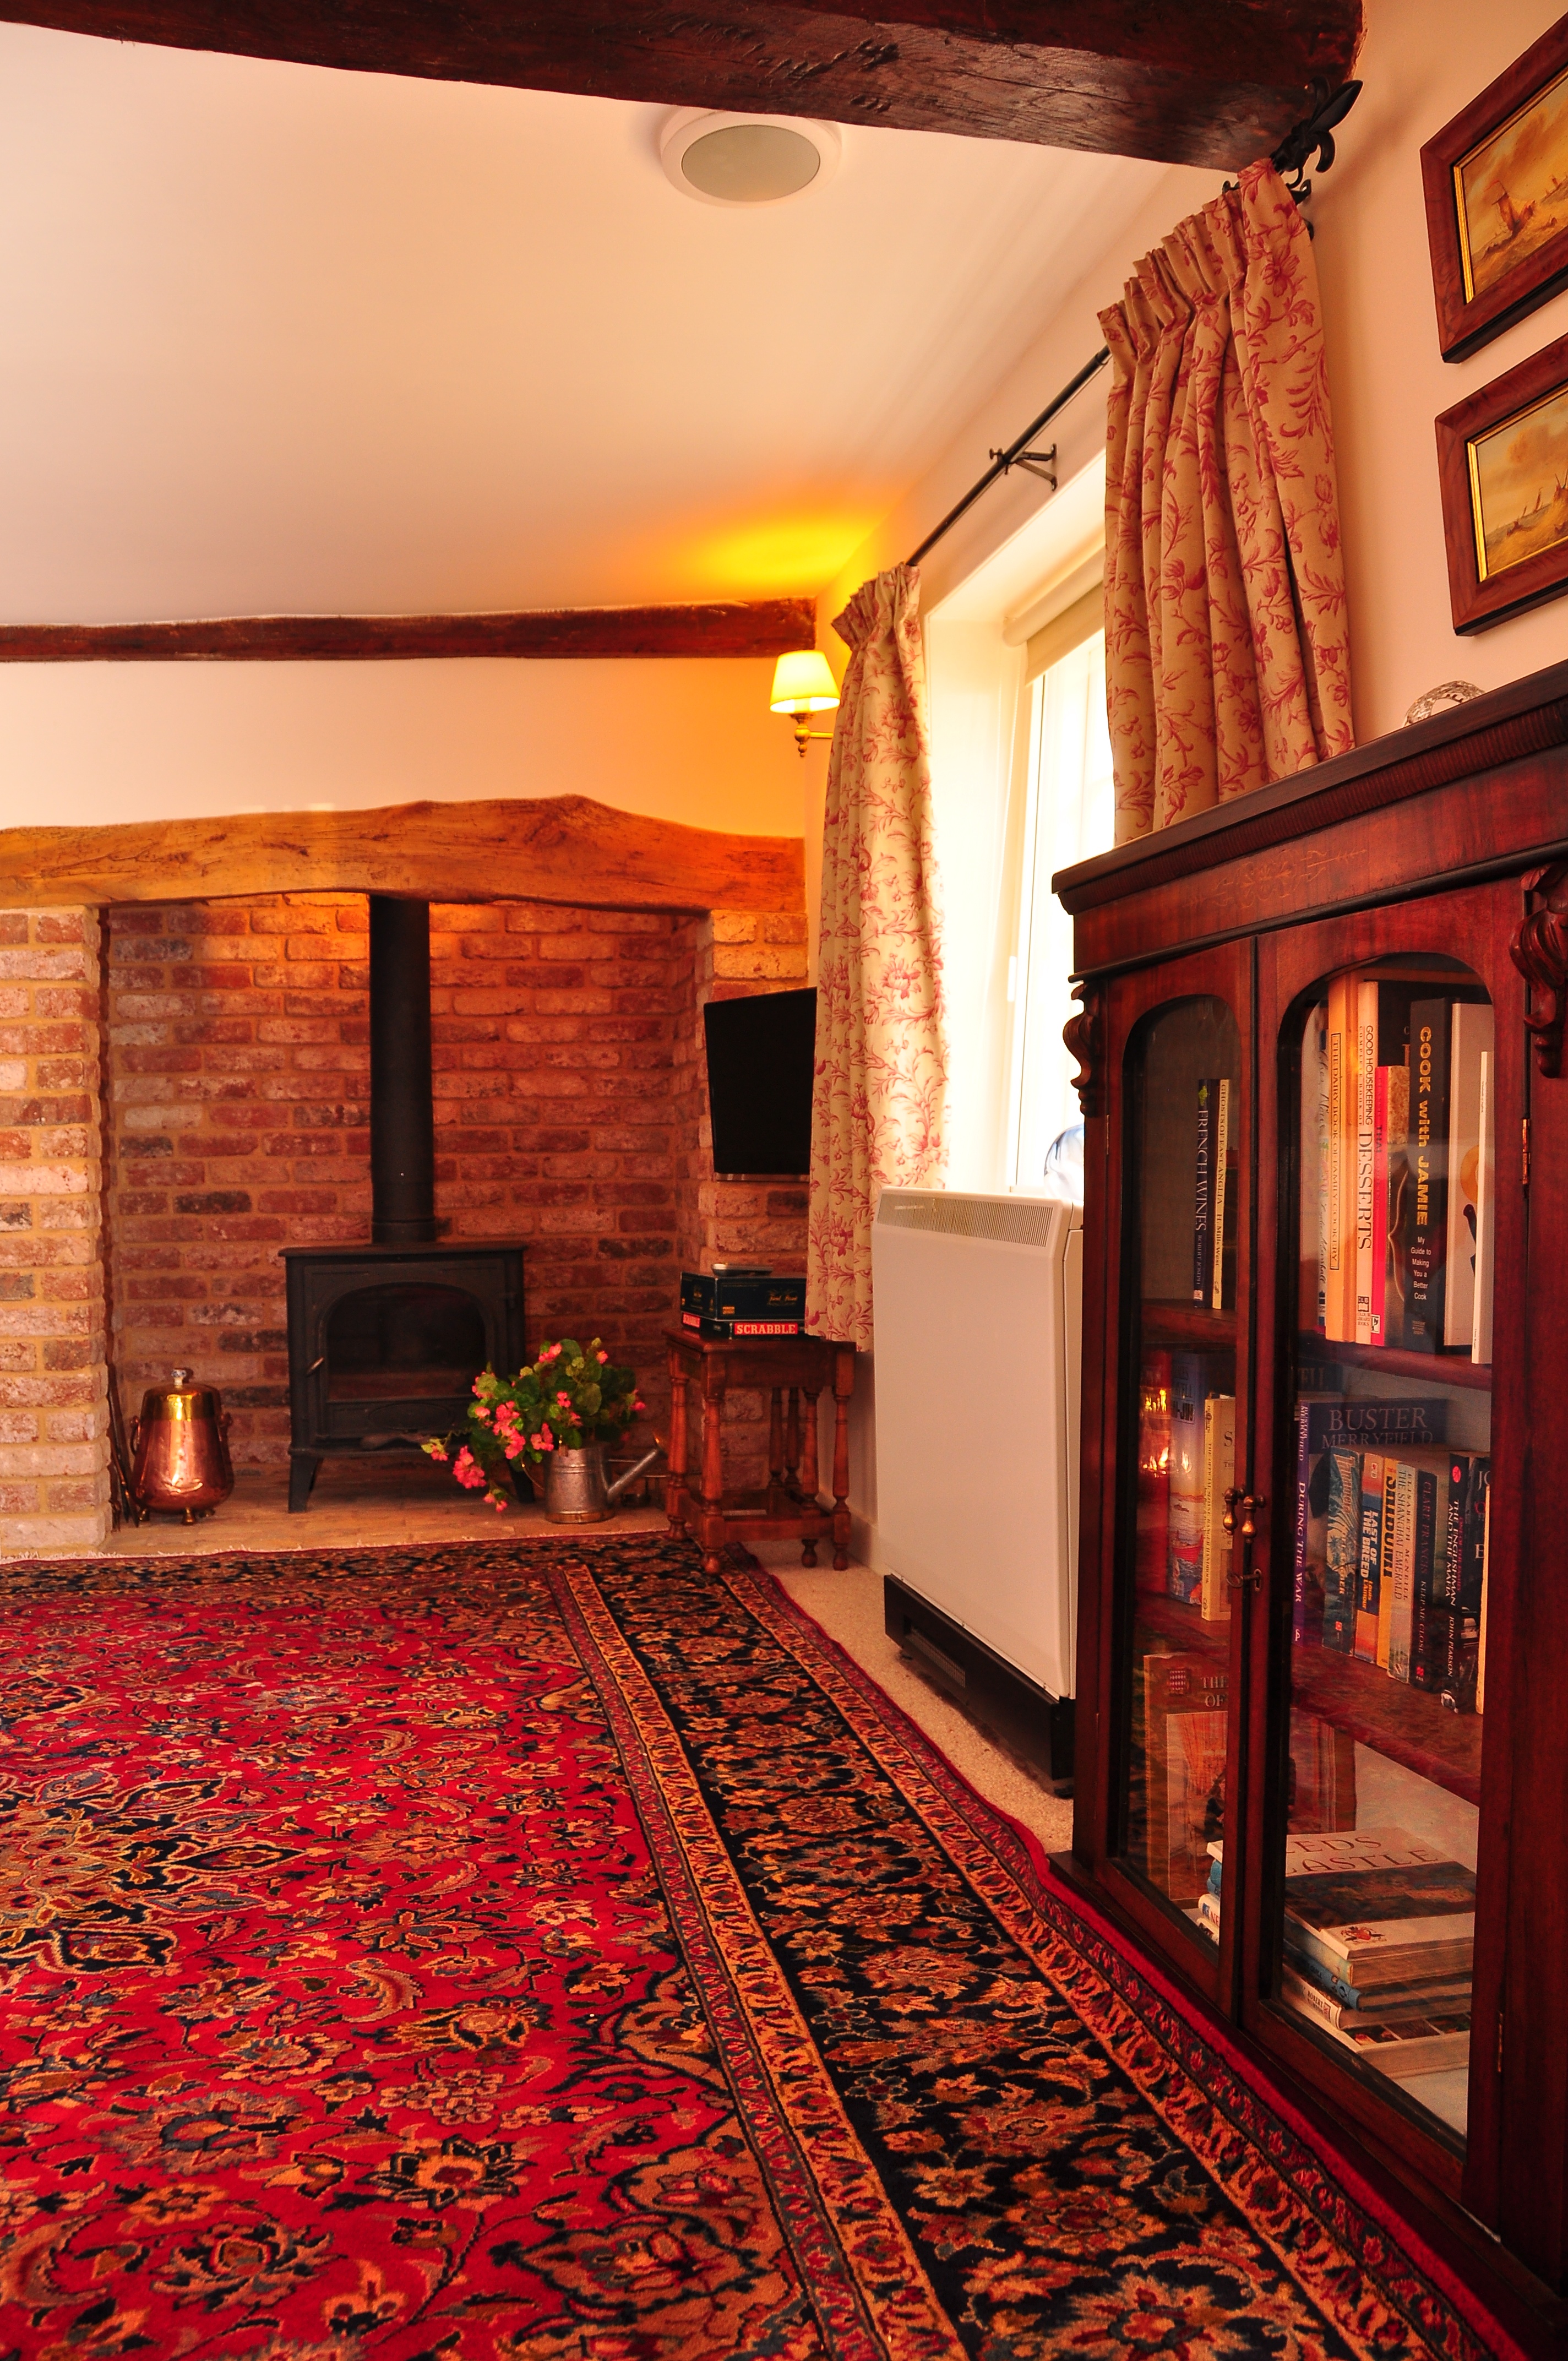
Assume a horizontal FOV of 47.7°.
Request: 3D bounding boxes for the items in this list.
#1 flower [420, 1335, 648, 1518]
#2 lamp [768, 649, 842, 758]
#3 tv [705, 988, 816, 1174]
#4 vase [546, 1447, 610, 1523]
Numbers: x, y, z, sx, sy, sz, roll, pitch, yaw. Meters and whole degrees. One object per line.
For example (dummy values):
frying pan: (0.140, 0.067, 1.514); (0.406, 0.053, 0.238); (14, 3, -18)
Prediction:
flower: (-0.711, 0.660, 4.712); (0.488, 0.461, 0.520); (0, -1, -31)
lamp: (0.048, -1.130, 4.114); (0.207, 0.283, 0.255); (-3, -2, 1)
tv: (-0.014, -0.237, 4.237); (0.051, 0.427, 0.451); (-6, 4, -42)
vase: (-0.534, 0.778, 4.623); (0.190, 0.187, 0.150); (-7, 9, -44)
